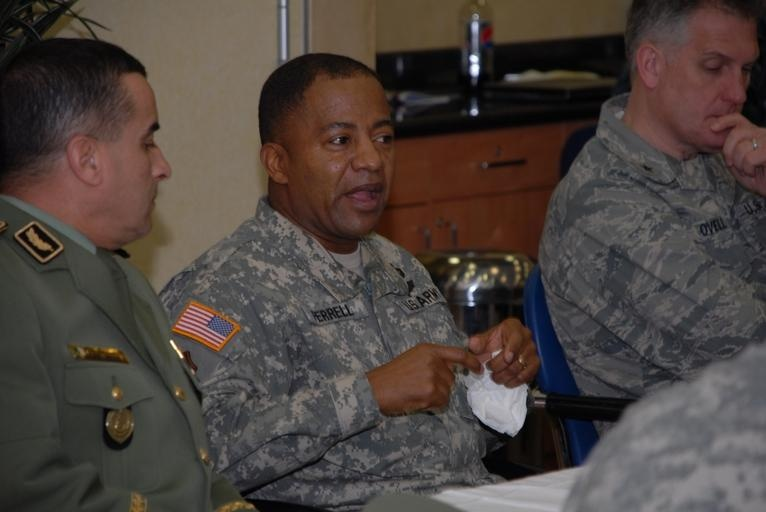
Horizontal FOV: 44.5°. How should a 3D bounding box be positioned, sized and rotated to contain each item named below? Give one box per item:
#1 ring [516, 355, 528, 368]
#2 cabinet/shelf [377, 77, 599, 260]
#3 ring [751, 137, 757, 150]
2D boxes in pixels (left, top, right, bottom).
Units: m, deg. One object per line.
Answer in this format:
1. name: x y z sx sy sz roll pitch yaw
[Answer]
1. ring: 0.384 0.292 2.591 0.031 0.022 0.030 -4 8 1
2. cabinet/shelf: 0.497 -0.695 5.165 1.322 1.153 0.712 -8 11 -41
3. ring: 1.190 -0.360 3.007 0.022 0.034 0.007 -16 14 -24
